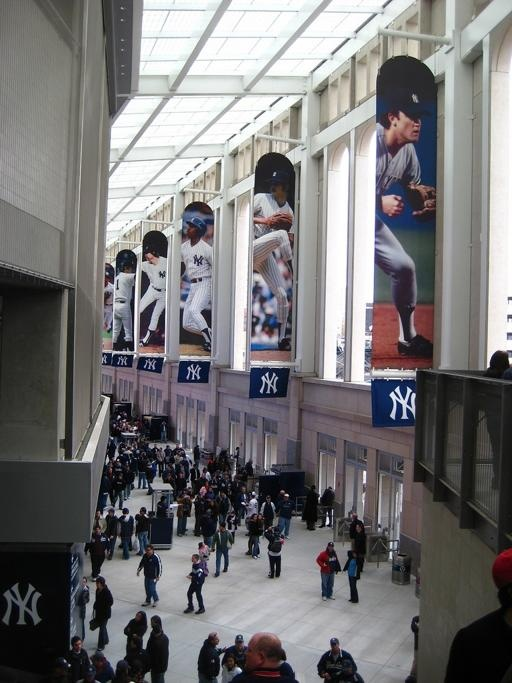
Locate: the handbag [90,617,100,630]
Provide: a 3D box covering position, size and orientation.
[{"bbox_3d":[-2.963,5.167,11.023,0.186,0.250,0.210,4,-8,-11],"label":"handbag"}]

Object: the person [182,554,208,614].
[{"bbox_3d":[-1.359,5.331,13.379,0.473,1.344,1.178,0,-4,-6],"label":"person"}]

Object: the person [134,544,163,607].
[{"bbox_3d":[-2.340,5.164,13.220,0.414,1.454,0.384,4,11,14],"label":"person"}]

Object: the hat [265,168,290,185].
[{"bbox_3d":[0.767,-5.269,19.292,0.550,0.401,0.420,1,5,-20],"label":"hat"}]

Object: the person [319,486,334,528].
[{"bbox_3d":[2.558,5.882,21.191,0.486,1.407,0.714,-1,-4,7],"label":"person"}]

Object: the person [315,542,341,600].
[{"bbox_3d":[1.669,5.226,13.608,0.487,1.325,0.375,0,3,0],"label":"person"}]

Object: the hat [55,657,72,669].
[{"bbox_3d":[-1.829,3.029,5.648,0.116,0.093,0.170,16,9,-28],"label":"hat"}]

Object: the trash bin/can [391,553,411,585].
[{"bbox_3d":[3.765,5.892,15.453,0.503,0.677,0.561,-1,-4,13],"label":"trash bin/can"}]

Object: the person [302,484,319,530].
[{"bbox_3d":[1.940,5.827,21.124,0.529,1.506,1.058,0,-4,5],"label":"person"}]
